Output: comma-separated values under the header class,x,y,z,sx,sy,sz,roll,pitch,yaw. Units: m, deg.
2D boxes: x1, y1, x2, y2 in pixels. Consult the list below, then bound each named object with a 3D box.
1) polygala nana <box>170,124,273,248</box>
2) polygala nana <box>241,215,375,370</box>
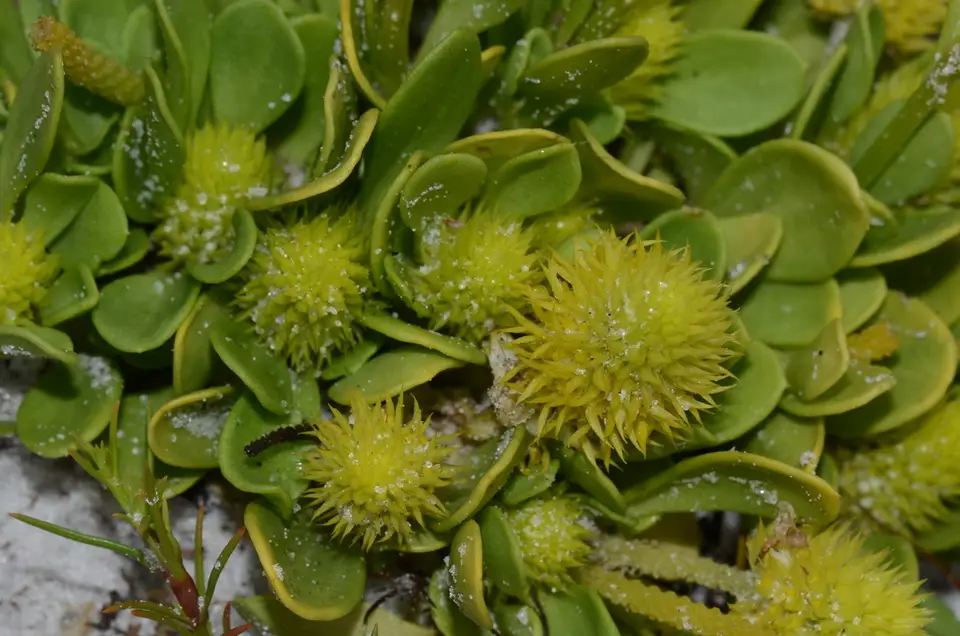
class,x,y,z,sx,sy,sz,roll,pitch,yaw
polygala nana,-0.406,-0.185,1.541,0.139,0.192,0.106,32,15,15
polygala nana,-0.265,-0.028,1.474,0.195,0.179,0.153,-10,55,-19
